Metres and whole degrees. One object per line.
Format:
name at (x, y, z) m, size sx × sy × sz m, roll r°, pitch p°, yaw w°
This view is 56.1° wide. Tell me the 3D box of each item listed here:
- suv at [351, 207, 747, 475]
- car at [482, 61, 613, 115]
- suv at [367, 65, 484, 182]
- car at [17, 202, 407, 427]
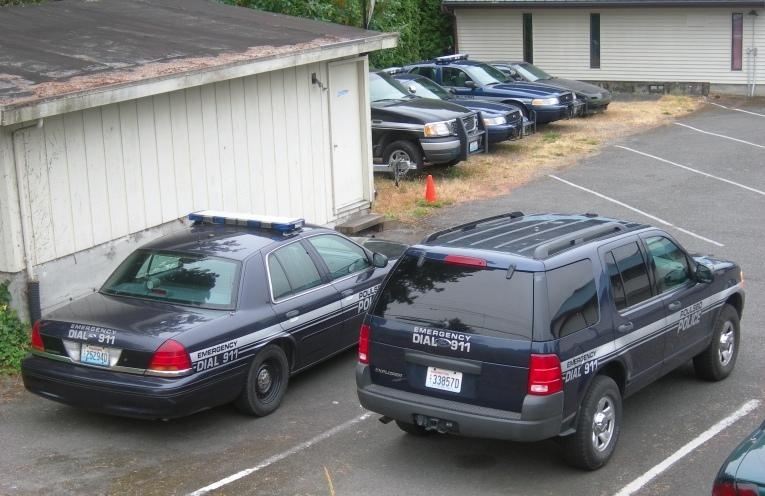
suv at (1.948, 1.026, 8.210) m, size 4.307 × 2.436 × 1.814 m, roll -13°, pitch 18°, yaw -31°
car at (5.648, -5.676, 25.859) m, size 4.773 × 1.383 × 2.088 m, roll 8°, pitch 19°, yaw 25°
suv at (1.106, -3.098, 18.583) m, size 3.918 × 1.685 × 1.917 m, roll 9°, pitch 25°, yaw 32°
car at (-2.145, 0.954, 8.974) m, size 2.100 × 1.486 × 4.667 m, roll 9°, pitch 20°, yaw 28°
